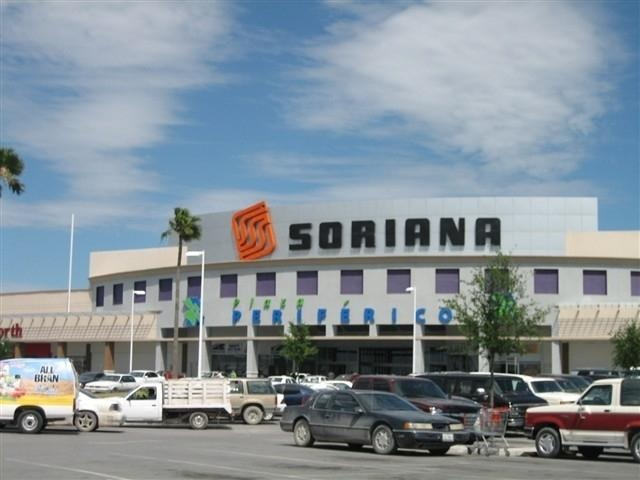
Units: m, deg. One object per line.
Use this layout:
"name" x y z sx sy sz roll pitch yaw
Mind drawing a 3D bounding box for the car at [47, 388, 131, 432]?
"car" -9.708 7.054 47.529 2.988 1.734 1.927 5 -9 -36

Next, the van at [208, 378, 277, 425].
"van" -3.477 7.332 52.561 2.700 2.248 2.812 6 -10 -39

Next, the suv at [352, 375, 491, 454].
"suv" 3.929 6.376 44.400 2.618 2.024 7.157 5 -8 -41

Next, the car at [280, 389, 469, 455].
"car" 1.994 6.587 40.827 2.750 2.146 7.329 5 -8 -41

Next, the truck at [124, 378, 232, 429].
"truck" -5.950 6.956 48.550 5.055 1.992 2.033 1 -7 -13
